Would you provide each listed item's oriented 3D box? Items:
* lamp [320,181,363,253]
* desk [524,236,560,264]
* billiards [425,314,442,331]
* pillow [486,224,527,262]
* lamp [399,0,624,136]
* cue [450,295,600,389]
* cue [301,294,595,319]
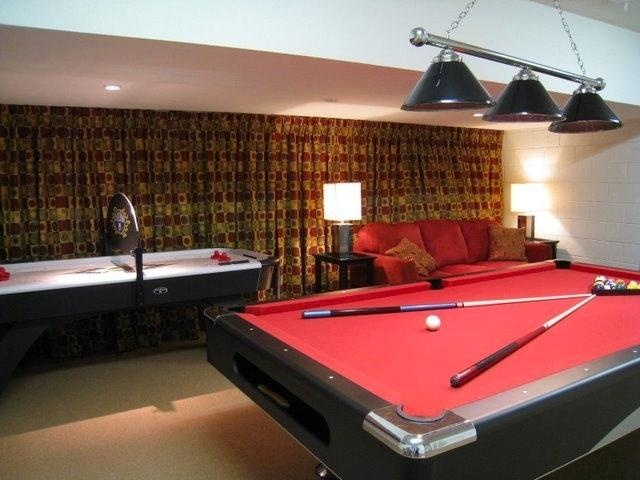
[{"bbox_3d":[0.223,-0.221,4.508,0.368,0.708,0.238,-1,10,-1],"label":"lamp"},{"bbox_3d":[2.753,0.105,5.577,0.481,0.402,0.369,-3,4,-27],"label":"desk"},{"bbox_3d":[0.490,0.357,1.969,0.068,0.045,0.063,-1,3,-5],"label":"billiards"},{"bbox_3d":[2.234,0.051,5.462,0.481,0.410,0.161,2,-22,-1],"label":"pillow"},{"bbox_3d":[1.340,-1.213,2.999,1.322,0.910,0.383,11,-16,-30],"label":"lamp"},{"bbox_3d":[1.021,0.395,2.051,1.743,0.057,0.058,-6,-24,-45],"label":"cue"},{"bbox_3d":[0.646,0.338,2.293,1.979,0.066,0.076,0,3,-16],"label":"cue"}]
